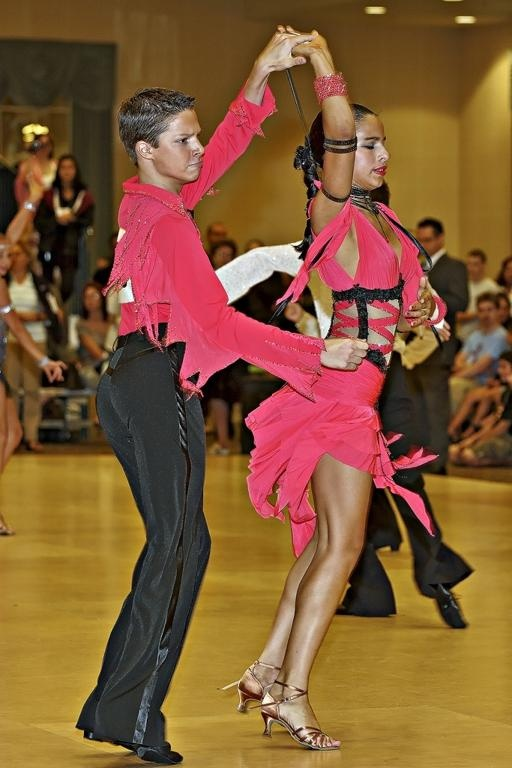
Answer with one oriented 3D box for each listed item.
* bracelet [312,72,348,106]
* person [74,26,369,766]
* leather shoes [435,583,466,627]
[{"bbox_3d":[0.140,-0.543,1.412,0.061,0.039,0.055,-12,0,-2],"label":"bracelet"},{"bbox_3d":[-0.080,0.080,1.341,0.495,1.247,0.260,1,-2,7],"label":"person"},{"bbox_3d":[0.718,0.818,2.812,0.069,0.168,0.067,-30,-11,-13],"label":"leather shoes"}]
